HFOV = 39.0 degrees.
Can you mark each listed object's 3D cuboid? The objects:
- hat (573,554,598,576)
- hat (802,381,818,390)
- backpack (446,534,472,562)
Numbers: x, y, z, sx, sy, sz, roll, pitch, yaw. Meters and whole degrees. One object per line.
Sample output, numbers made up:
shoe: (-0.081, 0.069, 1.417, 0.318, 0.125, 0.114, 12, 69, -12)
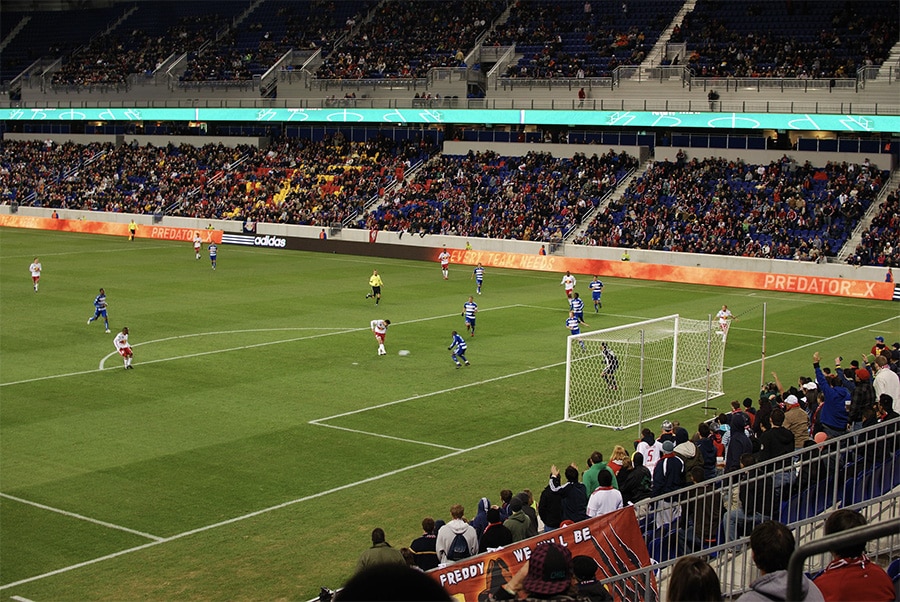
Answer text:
hat: (3.311, 6.508, 31.425, 0.458, 0.494, 0.550, 1, 9, -12)
hat: (12.268, 2.849, 43.210, 0.386, 0.198, 0.522, -3, 9, 18)
backpack: (0.183, 6.830, 35.308, 0.724, 0.847, 0.468, 1, 9, -10)
